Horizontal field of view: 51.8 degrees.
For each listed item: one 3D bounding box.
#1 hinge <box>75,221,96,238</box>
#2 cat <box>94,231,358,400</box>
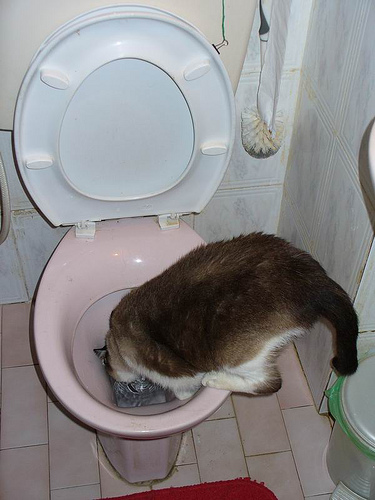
[{"bbox_3d":[-0.223,-0.044,0.847,0.030,0.009,0.039,0,81,-1],"label":"hinge"},{"bbox_3d":[0.085,0.146,0.809,0.451,0.302,0.279,-10,37,23],"label":"cat"}]
